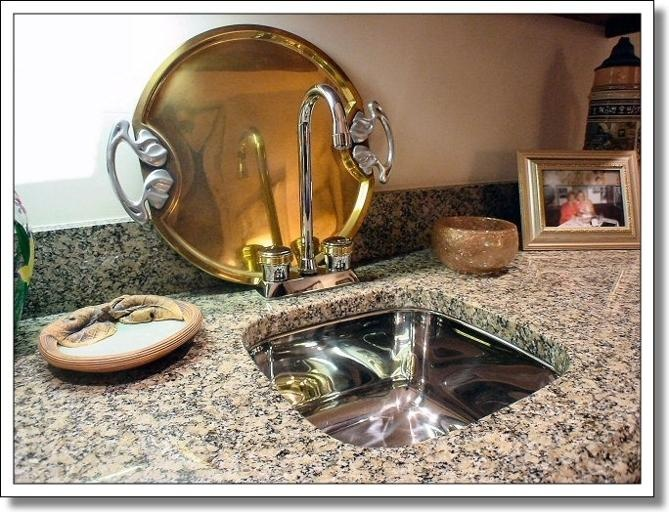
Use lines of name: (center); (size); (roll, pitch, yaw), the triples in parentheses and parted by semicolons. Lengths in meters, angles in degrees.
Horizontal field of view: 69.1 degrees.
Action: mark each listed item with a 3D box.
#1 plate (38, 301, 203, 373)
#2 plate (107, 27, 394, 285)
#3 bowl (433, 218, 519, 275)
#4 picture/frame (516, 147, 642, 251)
plate: (-0.393, 0.147, 0.921); (0.281, 0.094, 0.196); (-12, 18, -32)
plate: (-0.220, -0.249, 1.150); (0.714, 0.576, 0.096); (-14, 19, -30)
bowl: (0.392, -0.032, 1.311); (0.210, 0.133, 0.229); (-3, 16, 1)
picture/frame: (0.739, -0.166, 1.466); (0.360, 0.276, 0.026); (0, -8, -14)
